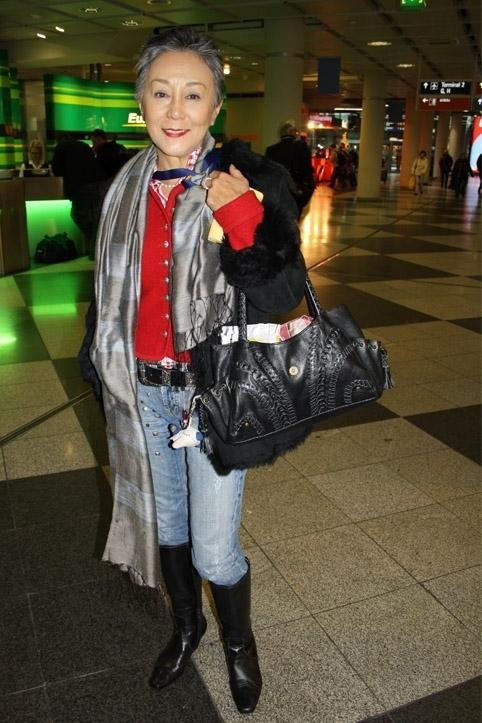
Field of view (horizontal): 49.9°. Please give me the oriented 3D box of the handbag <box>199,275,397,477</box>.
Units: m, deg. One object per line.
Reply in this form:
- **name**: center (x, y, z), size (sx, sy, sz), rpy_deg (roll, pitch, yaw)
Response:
- **handbag**: center (0.095, -0.009, 0.991), size (0.358, 0.338, 0.129), rpy_deg (-17, -15, 8)

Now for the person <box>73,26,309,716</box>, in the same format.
- **person**: center (-0.128, 0.098, 1.189), size (0.341, 1.539, 0.622), rpy_deg (-8, 16, -31)

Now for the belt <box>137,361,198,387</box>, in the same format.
- **belt**: center (-0.163, 0.021, 1.113), size (0.086, 0.039, 0.063), rpy_deg (2, 5, 18)
